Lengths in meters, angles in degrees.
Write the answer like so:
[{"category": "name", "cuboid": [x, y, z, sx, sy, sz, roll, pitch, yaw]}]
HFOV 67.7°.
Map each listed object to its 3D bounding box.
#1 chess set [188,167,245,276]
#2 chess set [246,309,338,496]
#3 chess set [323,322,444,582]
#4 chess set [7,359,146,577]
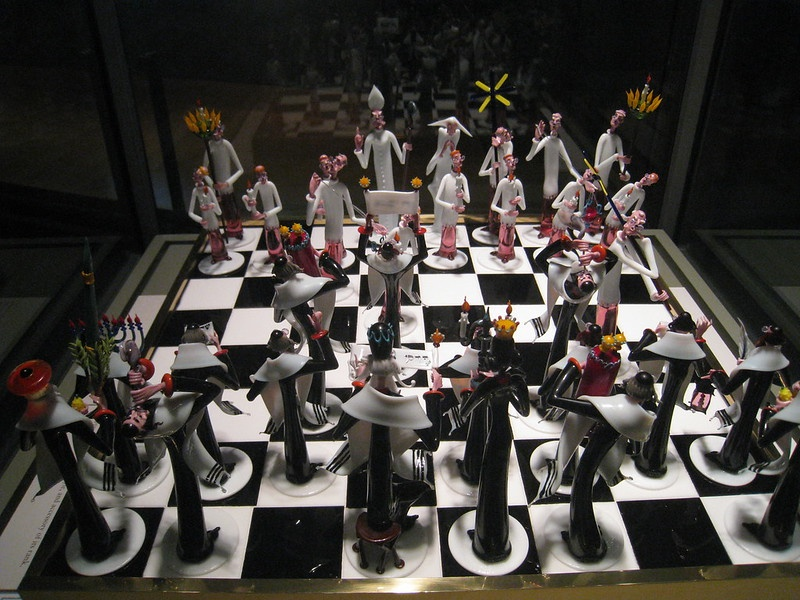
[{"category": "chess set", "cuboid": [-1.661, -0.704, 5.217, 0.416, 0.930, 0.413, -26, 40, -30]}, {"category": "chess set", "cuboid": [-0.622, 0.612, 3.431, 0.535, 1.034, 0.372, -6, 20, -5]}, {"category": "chess set", "cuboid": [-0.079, 0.764, 3.053, 0.499, 1.183, 0.581, -15, 30, -24]}, {"category": "chess set", "cuboid": [-1.613, 0.829, 2.984, 0.418, 1.175, 0.384, -1, 27, 1]}]
